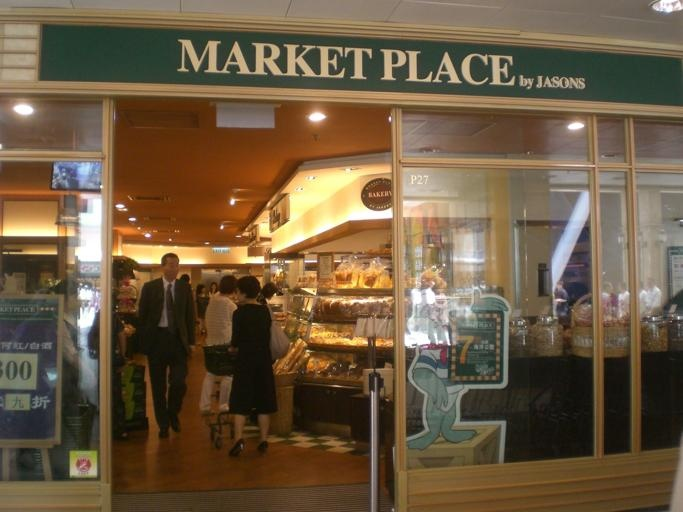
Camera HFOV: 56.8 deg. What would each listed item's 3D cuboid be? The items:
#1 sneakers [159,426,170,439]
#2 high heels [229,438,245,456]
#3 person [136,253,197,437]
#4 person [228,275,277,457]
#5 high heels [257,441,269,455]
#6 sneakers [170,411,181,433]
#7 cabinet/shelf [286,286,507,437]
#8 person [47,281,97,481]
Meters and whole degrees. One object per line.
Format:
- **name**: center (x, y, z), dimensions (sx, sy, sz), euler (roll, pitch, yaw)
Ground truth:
- **sneakers**: center (-1.989, 1.985, 7.083), dimensions (0.087, 0.111, 0.119), euler (2, 4, 6)
- **high heels**: center (-1.047, 1.949, 6.445), dimensions (0.088, 0.094, 0.231), euler (13, -45, -31)
- **person**: center (-1.925, 1.013, 7.061), dimensions (0.616, 2.054, 0.483), euler (-6, 5, -18)
- **person**: center (-0.962, 1.139, 6.653), dimensions (0.536, 1.844, 0.558), euler (-5, 5, -8)
- **high heels**: center (-0.814, 1.995, 6.571), dimensions (0.101, 0.100, 0.263), euler (1, -3, -10)
- **sneakers**: center (-1.897, 1.891, 7.191), dimensions (0.092, 0.261, 0.182), euler (-13, -4, -17)
- **cabinet/shelf**: center (0.100, 1.317, 6.853), dimensions (0.981, 1.497, 1.898), euler (-6, 6, -18)
- **person**: center (-2.256, 0.927, 5.243), dimensions (0.396, 1.460, 0.221), euler (-6, 5, -15)
